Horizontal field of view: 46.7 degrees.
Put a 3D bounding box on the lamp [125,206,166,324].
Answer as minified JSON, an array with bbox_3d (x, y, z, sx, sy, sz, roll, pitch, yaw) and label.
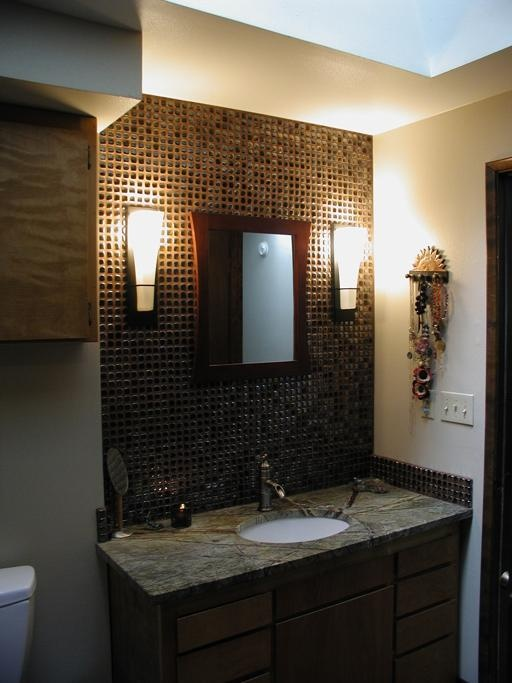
[{"bbox_3d":[-0.362,-0.225,1.956,0.086,0.328,0.066,1,-27,-12],"label":"lamp"}]

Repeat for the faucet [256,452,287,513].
[{"bbox_3d":[0.058,0.532,2.225,0.109,0.183,0.254,1,3,3],"label":"faucet"}]

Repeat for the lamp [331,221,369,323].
[{"bbox_3d":[0.376,-0.287,2.444,0.135,0.402,0.089,1,2,-12],"label":"lamp"}]

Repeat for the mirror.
[{"bbox_3d":[-0.039,-0.172,2.209,0.511,0.794,0.042,-1,1,-39],"label":"mirror"}]
